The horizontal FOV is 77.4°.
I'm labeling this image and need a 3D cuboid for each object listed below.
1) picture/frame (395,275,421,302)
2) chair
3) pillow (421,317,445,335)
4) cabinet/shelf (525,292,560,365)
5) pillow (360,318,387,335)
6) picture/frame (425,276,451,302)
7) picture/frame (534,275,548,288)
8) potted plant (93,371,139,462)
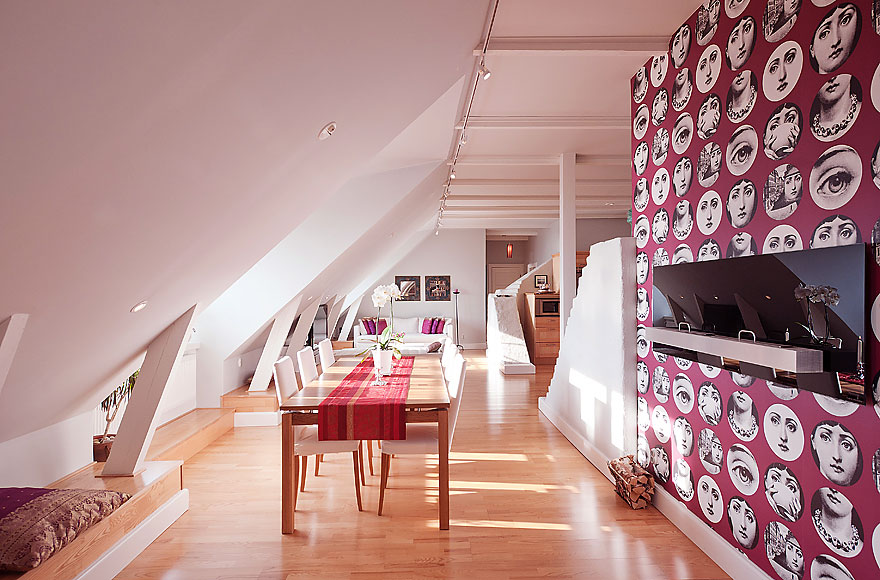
[{"bbox_3d":[-0.678,-0.035,12.441,0.627,0.646,0.061,0,-1,3],"label":"picture/frame"},{"bbox_3d":[-0.516,1.062,4.557,1.462,1.079,1.706,0,7,2],"label":"chair"},{"bbox_3d":[-0.148,0.778,12.399,0.372,0.384,0.117,-5,-29,16],"label":"pillow"},{"bbox_3d":[1.965,0.732,10.477,0.584,1.311,0.445,2,7,20],"label":"cabinet/shelf"},{"bbox_3d":[-1.357,0.666,11.822,0.549,0.569,0.168,-1,-12,-35],"label":"pillow"},{"bbox_3d":[-0.032,-0.057,13.163,0.605,0.601,0.062,1,1,2],"label":"picture/frame"},{"bbox_3d":[2.151,-0.180,11.635,0.266,0.287,0.022,0,-1,5],"label":"picture/frame"},{"bbox_3d":[-2.650,1.011,4.534,0.342,0.684,0.759,-4,7,-23],"label":"potted plant"}]
